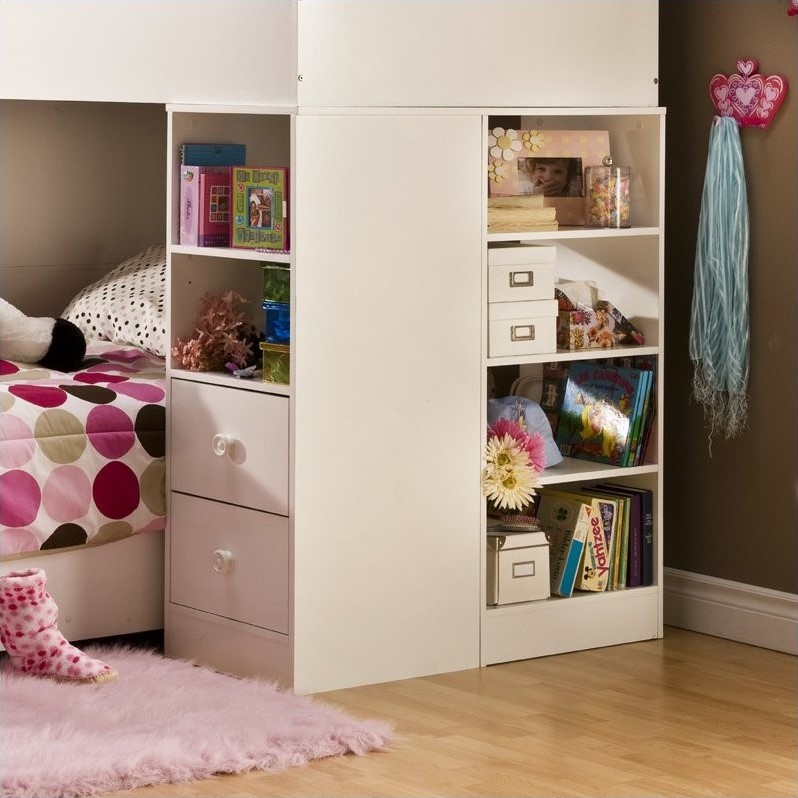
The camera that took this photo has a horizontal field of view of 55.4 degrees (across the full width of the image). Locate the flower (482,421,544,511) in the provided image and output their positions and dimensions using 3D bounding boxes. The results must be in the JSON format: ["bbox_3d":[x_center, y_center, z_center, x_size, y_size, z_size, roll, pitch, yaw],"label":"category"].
[{"bbox_3d":[0.280,0.173,1.945,0.083,0.221,0.194,-6,-14,43],"label":"flower"}]

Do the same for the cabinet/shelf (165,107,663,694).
[{"bbox_3d":[-0.009,-0.057,2.779,1.648,2.156,0.925,-2,5,-29],"label":"cabinet/shelf"}]

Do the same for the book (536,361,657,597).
[{"bbox_3d":[0.563,0.216,2.162,0.123,0.612,0.395,1,0,-25],"label":"book"}]
